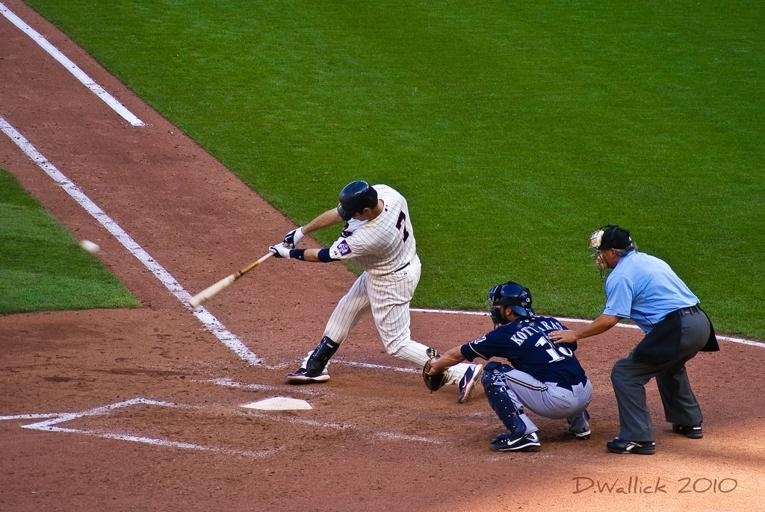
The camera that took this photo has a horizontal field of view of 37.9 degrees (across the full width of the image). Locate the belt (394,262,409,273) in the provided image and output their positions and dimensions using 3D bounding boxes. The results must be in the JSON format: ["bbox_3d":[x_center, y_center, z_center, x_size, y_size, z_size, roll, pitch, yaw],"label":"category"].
[{"bbox_3d":[0.240,0.160,14.696,0.180,0.047,0.115,-21,2,0],"label":"belt"}]

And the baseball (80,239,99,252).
[{"bbox_3d":[-4.688,-0.145,17.858,0.219,0.077,0.265,10,10,-43],"label":"baseball"}]

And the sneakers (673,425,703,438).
[{"bbox_3d":[3.758,2.170,13.835,0.161,0.114,0.372,-7,13,-42],"label":"sneakers"}]

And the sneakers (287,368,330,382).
[{"bbox_3d":[-0.998,1.619,15.064,0.602,0.167,0.191,3,-3,-20],"label":"sneakers"}]

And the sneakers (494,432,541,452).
[{"bbox_3d":[1.604,2.266,13.504,0.650,0.177,0.208,1,2,0],"label":"sneakers"}]

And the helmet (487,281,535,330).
[{"bbox_3d":[1.564,0.575,13.892,0.679,0.393,0.452,2,3,16],"label":"helmet"}]

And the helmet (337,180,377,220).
[{"bbox_3d":[-0.345,-0.693,14.487,0.559,0.535,0.300,-11,35,-1],"label":"helmet"}]
